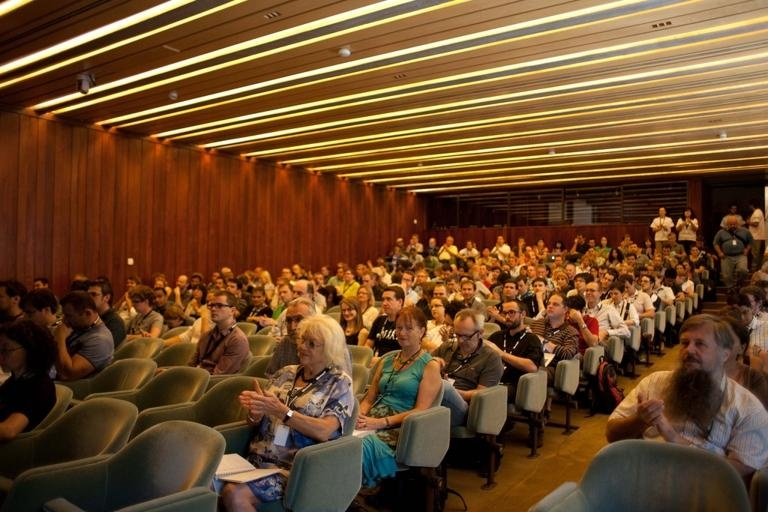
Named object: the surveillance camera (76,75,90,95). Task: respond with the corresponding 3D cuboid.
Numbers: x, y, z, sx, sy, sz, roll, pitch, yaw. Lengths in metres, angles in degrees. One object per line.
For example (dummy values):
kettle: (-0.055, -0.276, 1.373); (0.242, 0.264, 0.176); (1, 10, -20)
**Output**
surveillance camera: (-4.212, -2.392, 7.239); (0.156, 0.278, 0.257); (1, -1, -29)
